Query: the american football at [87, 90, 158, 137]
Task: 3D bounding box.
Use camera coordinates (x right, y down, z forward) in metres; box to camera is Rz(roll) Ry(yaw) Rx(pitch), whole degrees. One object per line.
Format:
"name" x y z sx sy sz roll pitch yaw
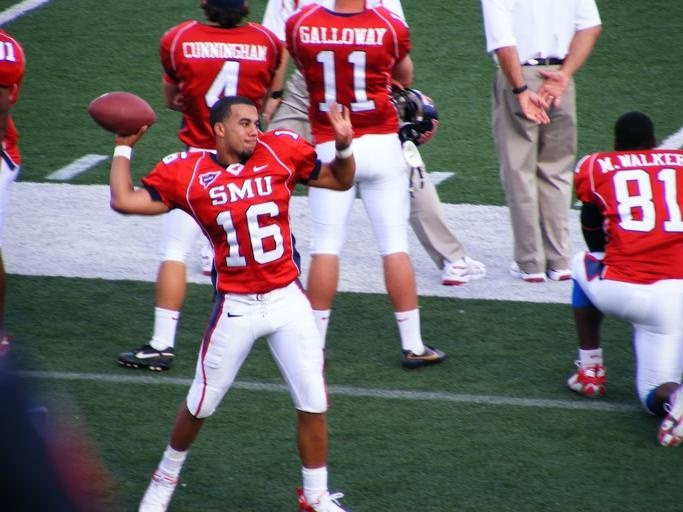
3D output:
"american football" -1.097 -0.765 6.442 0.458 0.238 0.274 2 30 5

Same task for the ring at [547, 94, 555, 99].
"ring" 1.337 -1.028 8.007 0.033 0.026 0.028 6 19 19
